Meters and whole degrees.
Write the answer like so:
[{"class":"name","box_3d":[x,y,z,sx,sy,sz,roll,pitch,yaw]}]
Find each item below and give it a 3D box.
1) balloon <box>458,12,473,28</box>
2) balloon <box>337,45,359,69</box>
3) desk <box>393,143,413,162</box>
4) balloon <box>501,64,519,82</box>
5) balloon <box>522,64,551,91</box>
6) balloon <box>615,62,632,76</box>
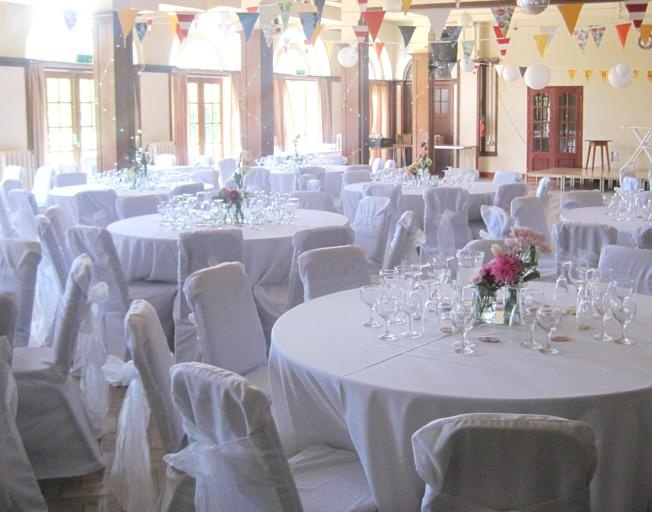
[{"class":"balloon","box_3d":[2.020,-3.385,8.761,0.135,0.198,0.417,5,15,24]},{"class":"balloon","box_3d":[0.355,-3.214,9.783,0.281,0.319,0.395,2,14,12]},{"class":"desk","box_3d":[2.171,-2.750,16.687,0.489,0.642,0.519,-4,6,-32]},{"class":"balloon","box_3d":[3.261,-3.208,10.683,0.246,0.268,0.752,4,15,19]},{"class":"balloon","box_3d":[3.254,-2.698,9.391,0.459,0.407,0.528,4,15,14]},{"class":"balloon","box_3d":[5.081,-3.176,10.421,0.229,0.208,0.303,5,15,26]}]
